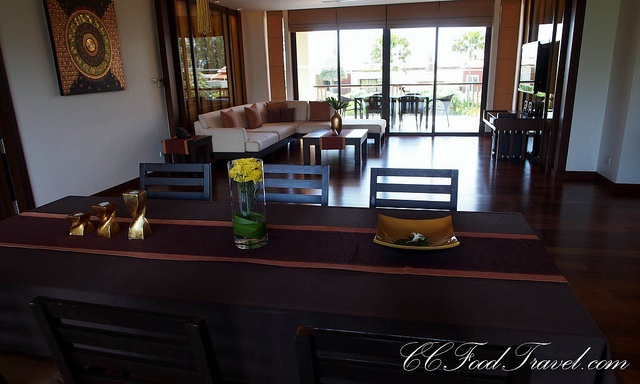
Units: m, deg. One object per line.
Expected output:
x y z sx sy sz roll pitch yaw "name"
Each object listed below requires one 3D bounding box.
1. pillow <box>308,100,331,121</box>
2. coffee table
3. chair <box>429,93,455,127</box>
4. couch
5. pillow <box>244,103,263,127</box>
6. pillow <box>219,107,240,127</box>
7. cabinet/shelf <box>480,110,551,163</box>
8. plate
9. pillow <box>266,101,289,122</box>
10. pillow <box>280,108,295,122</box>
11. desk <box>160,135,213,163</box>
-0.009 -1.745 9.088 0.464 0.425 0.136 -1 8 10 "pillow"
0.245 -0.706 7.791 0.985 0.436 0.935 1 25 7 "coffee table"
2.847 -1.982 9.740 0.475 0.593 0.498 7 22 13 "chair"
-0.751 -1.168 7.891 2.065 0.631 2.003 2 24 10 "couch"
-1.355 -1.539 8.464 0.213 0.378 0.491 5 25 21 "pillow"
-1.679 -1.363 7.744 0.138 0.308 0.386 -11 24 25 "pillow"
3.467 -1.119 7.660 0.895 0.947 1.486 -3 23 6 "cabinet/shelf"
0.652 0.282 2.880 0.328 0.080 0.302 2 19 15 "plate"
-0.938 -1.716 9.062 0.448 0.419 0.157 -4 8 -6 "pillow"
-0.710 -1.663 9.092 0.320 0.276 0.092 -4 1 -1 "pillow"
-2.236 -0.720 7.145 0.565 0.635 0.710 2 24 6 "desk"
